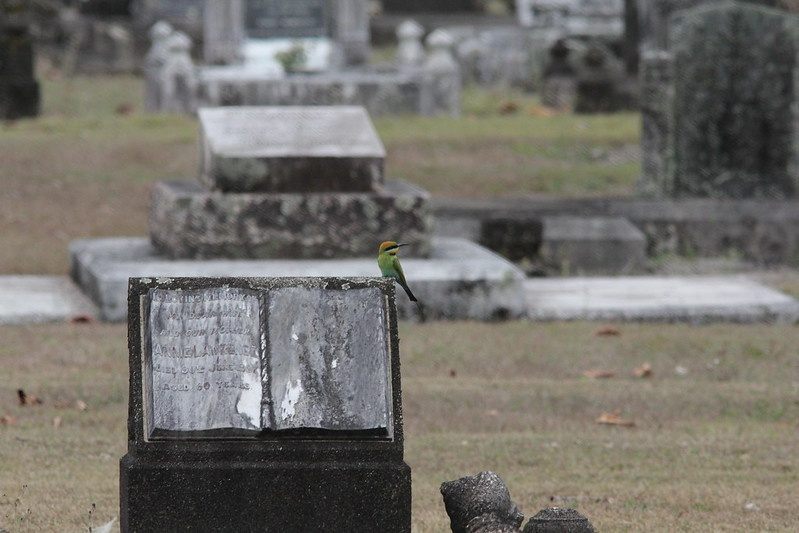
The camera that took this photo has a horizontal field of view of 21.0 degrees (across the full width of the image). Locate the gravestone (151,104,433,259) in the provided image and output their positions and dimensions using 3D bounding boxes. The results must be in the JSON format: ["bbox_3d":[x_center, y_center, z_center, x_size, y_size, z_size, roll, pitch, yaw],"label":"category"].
[{"bbox_3d":[-0.715,-0.506,14.686,1.885,0.918,0.509,-2,23,-3],"label":"gravestone"}]

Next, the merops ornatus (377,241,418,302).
[{"bbox_3d":[-0.019,0.031,13.351,0.190,0.393,0.422,1,56,-1],"label":"merops ornatus"}]
